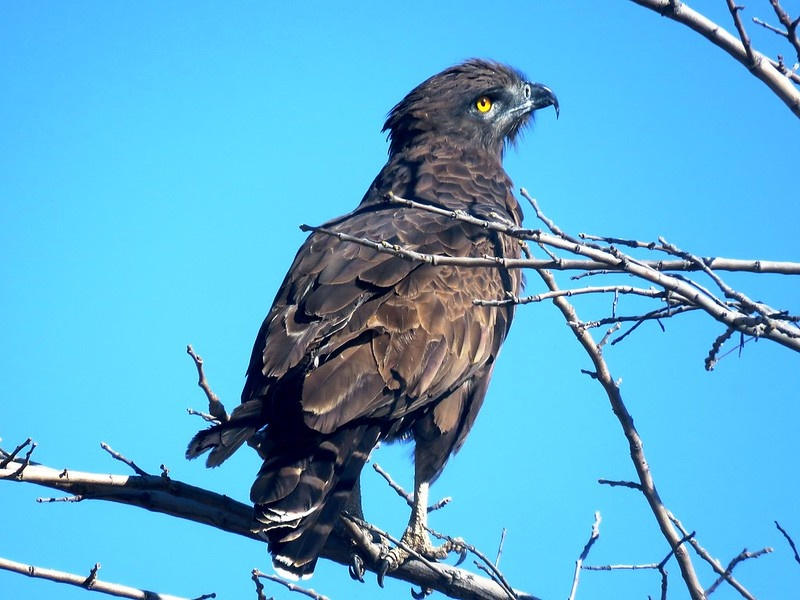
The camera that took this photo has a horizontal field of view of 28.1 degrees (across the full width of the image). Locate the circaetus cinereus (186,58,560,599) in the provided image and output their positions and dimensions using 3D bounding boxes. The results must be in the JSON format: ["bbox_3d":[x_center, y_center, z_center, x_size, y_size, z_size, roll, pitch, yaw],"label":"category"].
[{"bbox_3d":[-0.165,0.156,9.819,1.513,3.773,2.383,-3,-11,32],"label":"circaetus cinereus"}]
